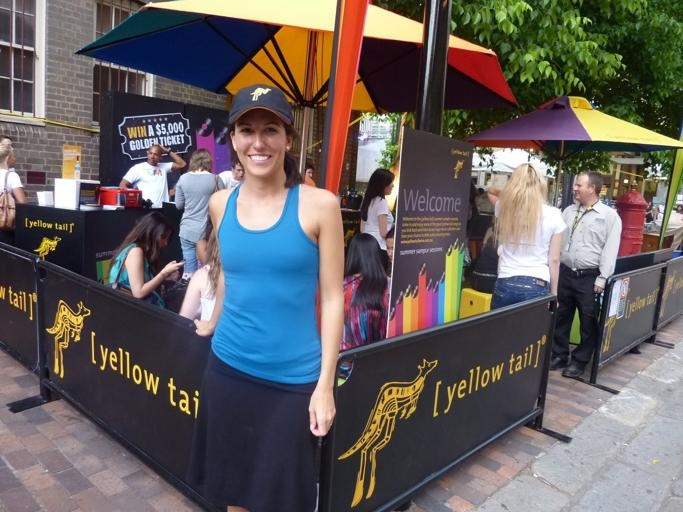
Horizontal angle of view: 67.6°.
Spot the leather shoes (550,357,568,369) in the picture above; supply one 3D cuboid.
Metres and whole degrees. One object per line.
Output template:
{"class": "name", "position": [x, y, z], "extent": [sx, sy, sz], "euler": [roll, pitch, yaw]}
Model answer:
{"class": "leather shoes", "position": [2.765, 1.364, 6.523], "extent": [0.340, 0.156, 0.137], "euler": [6, -9, -29]}

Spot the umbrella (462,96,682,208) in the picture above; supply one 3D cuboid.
{"class": "umbrella", "position": [3.359, -1.798, 7.191], "extent": [2.224, 1.025, 2.375], "euler": [3, 12, 32]}

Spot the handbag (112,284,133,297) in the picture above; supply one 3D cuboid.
{"class": "handbag", "position": [-1.896, 0.293, 4.448], "extent": [0.132, 0.144, 0.085], "euler": [3, 3, 34]}

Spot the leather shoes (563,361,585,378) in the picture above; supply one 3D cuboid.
{"class": "leather shoes", "position": [2.880, 1.407, 6.329], "extent": [0.126, 0.159, 0.348], "euler": [-1, -9, 44]}

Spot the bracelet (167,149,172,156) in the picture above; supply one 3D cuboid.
{"class": "bracelet", "position": [-3.404, -2.071, 10.167], "extent": [0.040, 0.124, 0.089], "euler": [-4, -14, 24]}
